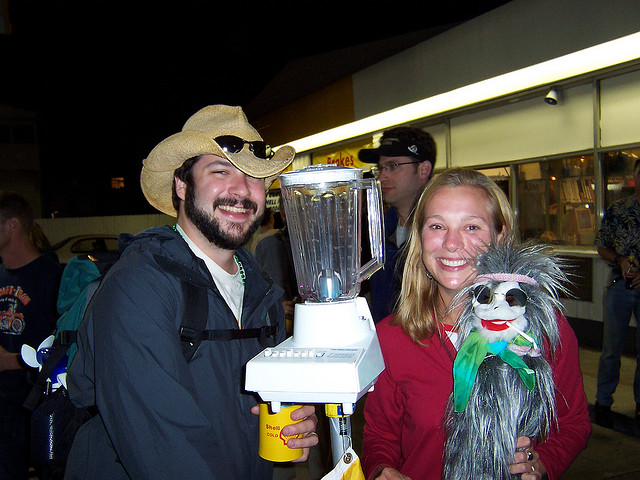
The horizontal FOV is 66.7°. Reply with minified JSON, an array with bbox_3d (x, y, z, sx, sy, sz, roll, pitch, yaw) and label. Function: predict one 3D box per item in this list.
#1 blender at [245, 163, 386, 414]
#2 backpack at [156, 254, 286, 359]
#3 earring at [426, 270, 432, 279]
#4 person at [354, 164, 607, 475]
[{"bbox_3d":[0.009,0.208,1.922,0.471,1.019,0.679,-2,3,10],"label":"blender"},{"bbox_3d":[-0.485,0.293,2.364,0.524,0.516,0.351,-6,5,-37],"label":"backpack"},{"bbox_3d":[0.505,0.162,2.265,0.011,0.032,0.030,-6,1,-26],"label":"earring"},{"bbox_3d":[0.746,0.425,2.312,0.984,1.478,0.628,-2,6,13],"label":"person"}]
